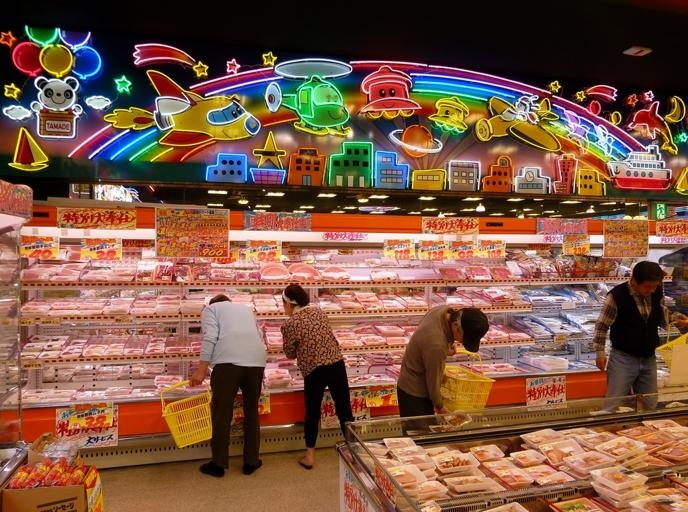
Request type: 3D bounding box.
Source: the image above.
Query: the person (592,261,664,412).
[{"bbox_3d":[3.028,0.771,5.821,0.701,1.499,0.560,5,13,20],"label":"person"}]

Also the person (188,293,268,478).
[{"bbox_3d":[-1.181,1.362,5.728,0.690,1.687,0.687,1,12,1],"label":"person"}]

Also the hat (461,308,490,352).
[{"bbox_3d":[1.133,0.669,4.866,0.231,0.425,0.260,3,12,11],"label":"hat"}]

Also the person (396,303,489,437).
[{"bbox_3d":[0.859,0.977,5.002,0.530,1.087,0.634,-6,13,-26],"label":"person"}]

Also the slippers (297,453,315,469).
[{"bbox_3d":[-0.391,2.145,5.813,0.092,0.099,0.254,0,5,-12],"label":"slippers"}]

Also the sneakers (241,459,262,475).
[{"bbox_3d":[-0.946,2.172,5.709,0.085,0.085,0.228,6,7,26],"label":"sneakers"}]

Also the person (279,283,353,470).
[{"bbox_3d":[-0.310,1.285,5.816,0.811,1.870,0.557,3,12,15],"label":"person"}]

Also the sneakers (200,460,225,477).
[{"bbox_3d":[-1.349,2.160,5.678,0.259,0.091,0.136,9,9,38],"label":"sneakers"}]
